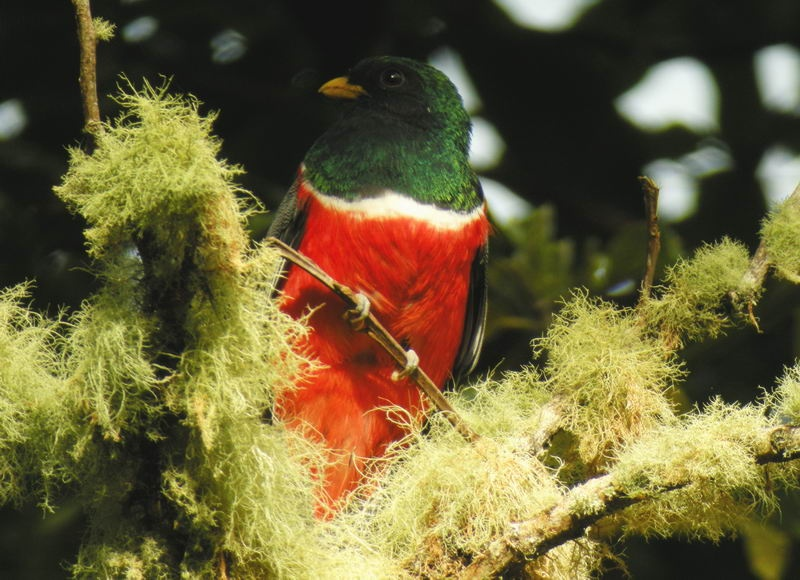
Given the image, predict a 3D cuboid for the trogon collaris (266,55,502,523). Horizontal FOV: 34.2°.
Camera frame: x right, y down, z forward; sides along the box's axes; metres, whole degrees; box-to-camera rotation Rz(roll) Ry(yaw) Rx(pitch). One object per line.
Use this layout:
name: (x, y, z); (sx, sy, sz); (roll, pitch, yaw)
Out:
trogon collaris: (-0.046, -0.001, 4.016); (0.746, 1.376, 0.520); (20, -33, -10)
